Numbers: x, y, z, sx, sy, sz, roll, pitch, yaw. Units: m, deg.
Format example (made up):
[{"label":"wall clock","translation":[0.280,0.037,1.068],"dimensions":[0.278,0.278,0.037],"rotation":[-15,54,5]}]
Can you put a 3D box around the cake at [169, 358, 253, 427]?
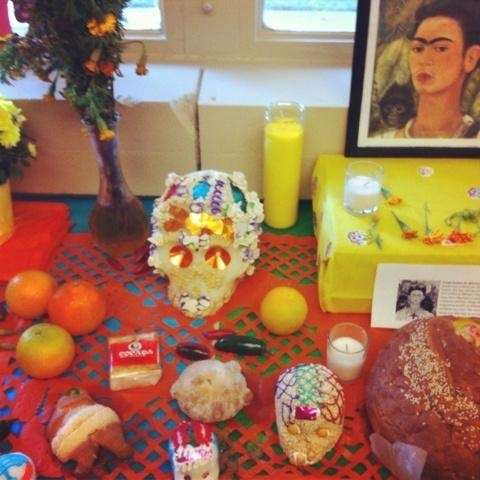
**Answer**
[{"label":"cake","translation":[-0.050,0.251,0.791],"dimensions":[0.117,0.038,0.124],"rotation":[-17,48,-11]}]

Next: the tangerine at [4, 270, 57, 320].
[{"label":"tangerine","translation":[-0.427,0.110,0.975],"dimensions":[0.094,0.095,0.096],"rotation":[-7,-3,13]}]

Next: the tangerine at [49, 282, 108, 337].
[{"label":"tangerine","translation":[-0.318,0.133,0.939],"dimensions":[0.101,0.101,0.105],"rotation":[18,28,27]}]

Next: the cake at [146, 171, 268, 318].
[{"label":"cake","translation":[-0.075,-0.019,1.056],"dimensions":[0.250,0.297,0.314],"rotation":[-1,29,-2]}]

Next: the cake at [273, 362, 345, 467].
[{"label":"cake","translation":[0.112,0.280,0.731],"dimensions":[0.105,0.119,0.114],"rotation":[-2,32,-1]}]

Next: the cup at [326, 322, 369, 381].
[{"label":"cup","translation":[0.183,0.204,0.880],"dimensions":[0.090,0.107,0.097],"rotation":[-1,40,1]}]
